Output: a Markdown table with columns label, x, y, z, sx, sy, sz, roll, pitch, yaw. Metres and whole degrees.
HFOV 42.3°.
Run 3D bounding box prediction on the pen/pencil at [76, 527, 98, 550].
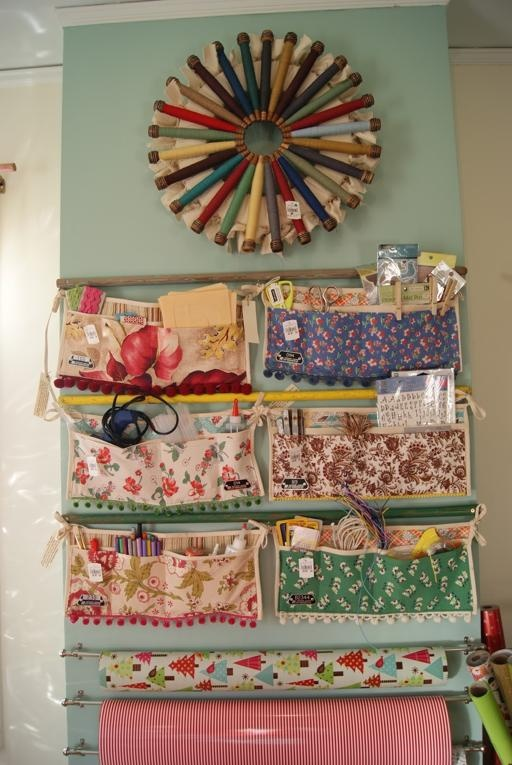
| label | x | y | z | sx | sy | sz | roll | pitch | yaw |
| --- | --- | --- | --- | --- | --- | --- | --- | --- | --- |
| pen/pencil | -0.515 | 0.477 | 2.011 | 0.021 | 0.079 | 0.023 | -37 | -26 | -6 |

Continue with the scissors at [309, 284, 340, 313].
| label | x | y | z | sx | sy | sz | roll | pitch | yaw |
| --- | --- | --- | --- | --- | --- | --- | --- | --- | --- |
| scissors | 0.207 | -0.253 | 2.007 | 0.087 | 0.077 | 0.012 | 0 | -3 | 8 |
